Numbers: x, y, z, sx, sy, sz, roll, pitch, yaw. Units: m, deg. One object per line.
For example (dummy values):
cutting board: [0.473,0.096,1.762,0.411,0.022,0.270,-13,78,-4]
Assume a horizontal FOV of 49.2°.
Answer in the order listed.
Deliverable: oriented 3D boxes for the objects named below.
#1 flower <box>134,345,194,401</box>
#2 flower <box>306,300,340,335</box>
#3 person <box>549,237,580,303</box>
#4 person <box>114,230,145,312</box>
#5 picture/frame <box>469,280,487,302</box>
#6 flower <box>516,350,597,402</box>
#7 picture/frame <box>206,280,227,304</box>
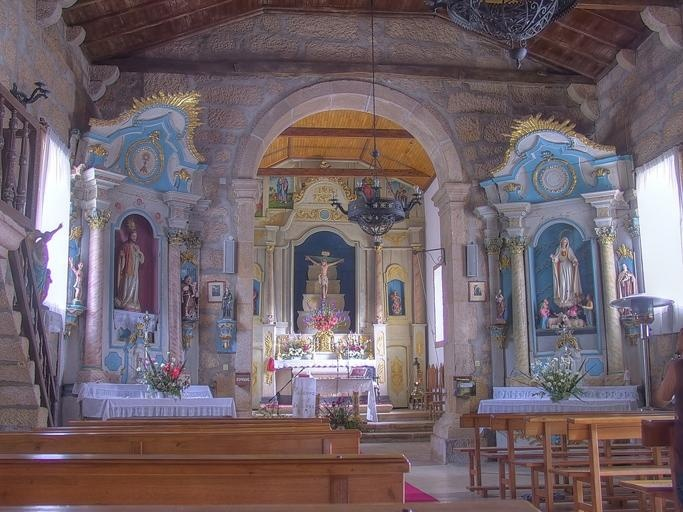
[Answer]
flower: [-2.641,1.741,11.041,0.735,0.785,0.671,-2,-6,26]
flower: [-0.496,1.592,18.946,0.708,0.812,0.735,1,-6,19]
person: [3.732,0.275,12.421,0.442,1.142,0.239,-4,-11,21]
person: [-3.348,0.211,11.836,0.144,1.321,0.493,-7,-12,31]
picture/frame: [2.322,0.604,12.822,0.344,0.382,0.038,2,-20,-4]
flower: [3.087,1.858,10.766,0.633,0.492,0.746,-3,-4,-13]
picture/frame: [-2.118,0.614,12.557,0.348,0.436,0.031,0,-13,-4]
